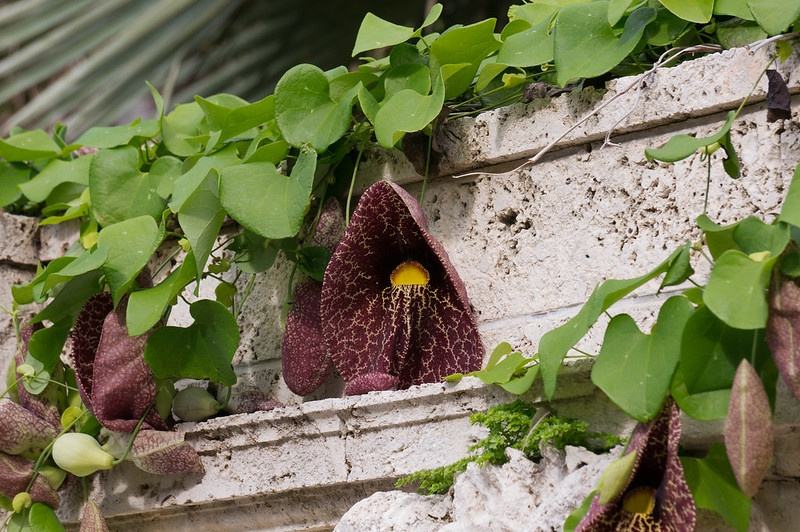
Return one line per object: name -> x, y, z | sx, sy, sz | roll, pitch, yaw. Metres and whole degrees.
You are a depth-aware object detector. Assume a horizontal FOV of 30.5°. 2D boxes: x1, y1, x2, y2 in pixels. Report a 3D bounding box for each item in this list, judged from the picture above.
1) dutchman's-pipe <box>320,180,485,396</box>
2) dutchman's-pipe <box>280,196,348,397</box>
dutchman's-pipe -> -0.001, 0.040, 2.918 | 0.156, 0.382, 0.501 | -22, -3, -29
dutchman's-pipe -> -0.189, 0.053, 3.015 | 0.093, 0.408, 0.112 | 10, -4, -13
